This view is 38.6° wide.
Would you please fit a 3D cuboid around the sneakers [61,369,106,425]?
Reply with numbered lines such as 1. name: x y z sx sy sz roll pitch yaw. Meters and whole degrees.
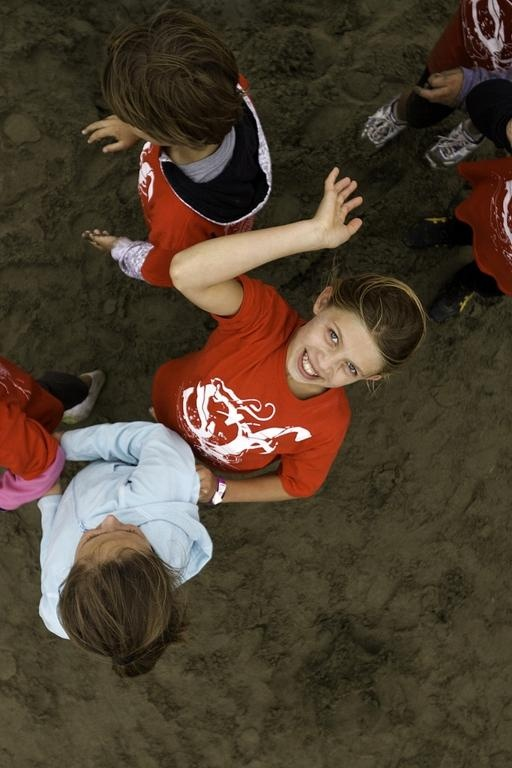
1. sneakers: -0.862 0.059 3.744 0.179 0.129 0.296 17 78 27

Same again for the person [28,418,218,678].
1. person: -0.529 0.642 2.888 0.662 0.674 0.855 -7 35 3

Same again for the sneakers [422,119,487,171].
1. sneakers: 0.983 -1.205 3.748 0.347 0.143 0.144 -27 9 17

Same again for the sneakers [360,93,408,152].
1. sneakers: 0.659 -1.357 3.863 0.287 0.171 0.201 -41 3 18

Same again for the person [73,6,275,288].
1. person: -0.272 -0.830 2.849 0.612 1.165 0.793 -15 37 -6
